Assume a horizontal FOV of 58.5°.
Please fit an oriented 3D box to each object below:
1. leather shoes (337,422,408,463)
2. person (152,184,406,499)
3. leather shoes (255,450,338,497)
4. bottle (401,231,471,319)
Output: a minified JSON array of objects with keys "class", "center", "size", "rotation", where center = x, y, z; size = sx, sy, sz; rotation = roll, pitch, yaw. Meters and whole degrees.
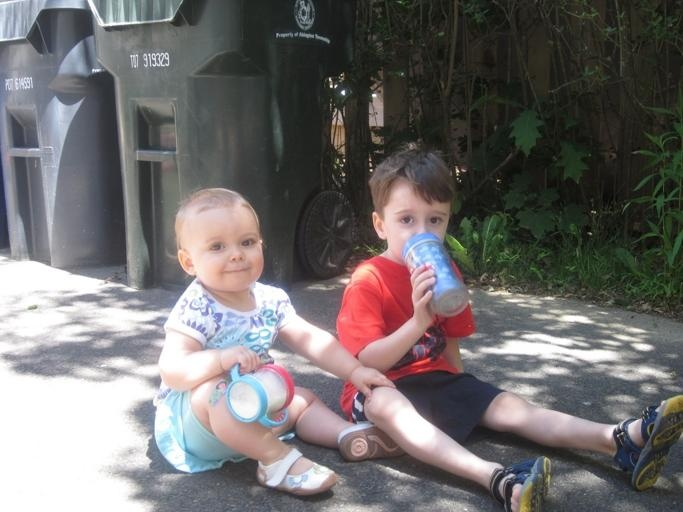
[{"class":"leather shoes","center":[0.122,0.700,2.370],"size":[0.270,0.116,0.135],"rotation":[-4,3,1]},{"class":"person","center":[-0.253,0.268,2.271],"size":[0.854,1.036,0.632],"rotation":[-1,3,9]},{"class":"leather shoes","center":[-0.145,0.762,2.164],"size":[0.204,0.104,0.143],"rotation":[1,9,15]},{"class":"bottle","center":[0.344,0.064,2.274],"size":[0.173,0.284,0.253],"rotation":[-10,18,-34]}]
